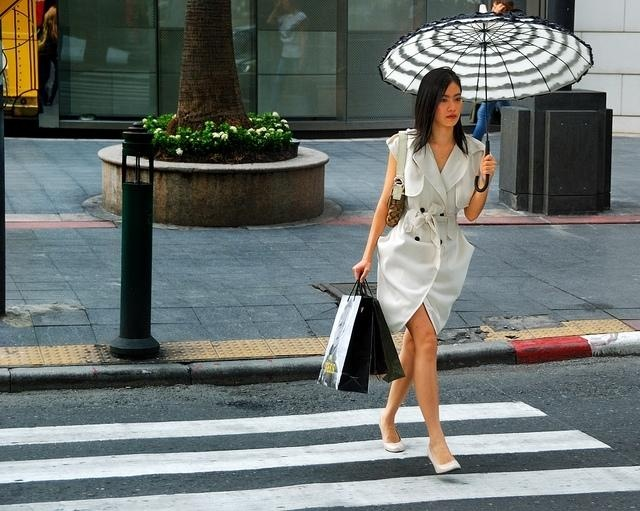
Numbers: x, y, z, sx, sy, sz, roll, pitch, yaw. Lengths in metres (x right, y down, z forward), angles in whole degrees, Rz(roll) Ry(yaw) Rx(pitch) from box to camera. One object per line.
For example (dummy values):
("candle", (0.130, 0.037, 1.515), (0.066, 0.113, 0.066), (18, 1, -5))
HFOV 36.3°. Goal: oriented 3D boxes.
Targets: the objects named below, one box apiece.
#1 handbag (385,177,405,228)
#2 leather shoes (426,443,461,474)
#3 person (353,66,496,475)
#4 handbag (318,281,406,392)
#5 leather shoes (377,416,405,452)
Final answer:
("handbag", (0.473, -0.328, 6.097), (0.112, 0.297, 0.079), (14, 15, 12))
("leather shoes", (0.740, 1.243, 5.996), (0.107, 0.098, 0.276), (-9, 14, -19))
("person", (0.615, 0.077, 6.121), (0.783, 2.420, 0.898), (6, 15, 26))
("handbag", (0.245, 0.512, 5.998), (0.374, 0.586, 0.346), (-9, 15, -31))
("leather shoes", (0.456, 1.160, 6.349), (0.112, 0.268, 0.111), (-25, -13, 4))
